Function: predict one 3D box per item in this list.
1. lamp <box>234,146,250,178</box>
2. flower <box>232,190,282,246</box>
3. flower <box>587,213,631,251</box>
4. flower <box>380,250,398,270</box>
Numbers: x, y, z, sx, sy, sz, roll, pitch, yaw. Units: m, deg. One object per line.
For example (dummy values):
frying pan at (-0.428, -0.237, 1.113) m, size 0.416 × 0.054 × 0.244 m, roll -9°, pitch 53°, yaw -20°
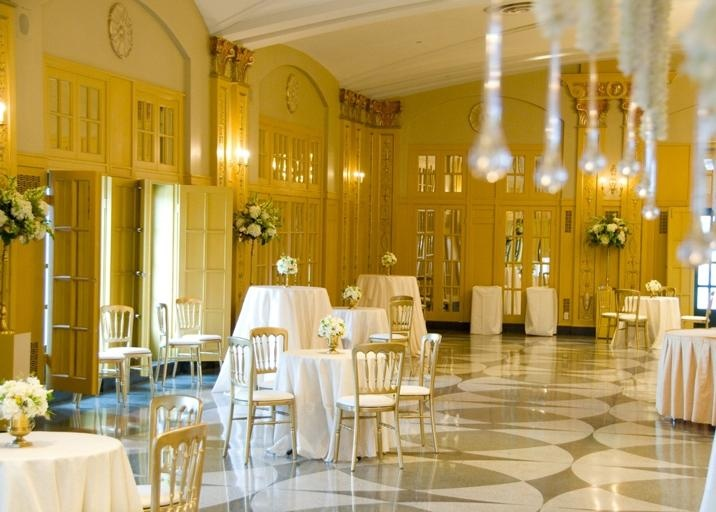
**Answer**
lamp at (-1.819, -1.479, 10.519) m, size 0.137 × 0.451 × 0.353 m, roll -2°, pitch -2°, yaw 12°
flower at (-1.515, -0.566, 10.371) m, size 0.677 × 0.795 × 0.730 m, roll 2°, pitch 0°, yaw 9°
flower at (5.395, -0.489, 14.322) m, size 0.748 × 0.706 × 0.775 m, roll -3°, pitch -2°, yaw -5°
flower at (0.623, 0.102, 12.643) m, size 0.351 × 0.383 × 0.343 m, roll -1°, pitch 0°, yaw -7°
